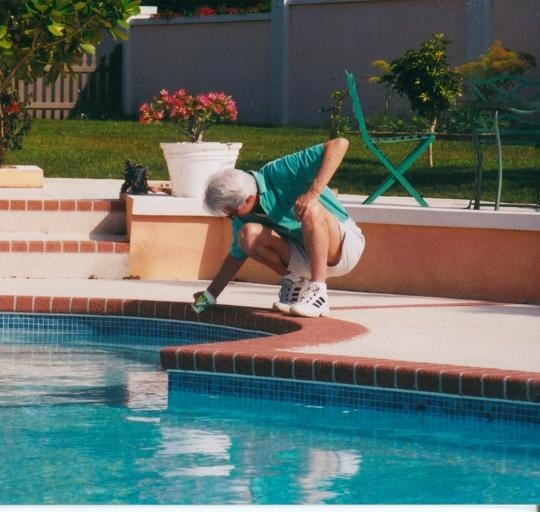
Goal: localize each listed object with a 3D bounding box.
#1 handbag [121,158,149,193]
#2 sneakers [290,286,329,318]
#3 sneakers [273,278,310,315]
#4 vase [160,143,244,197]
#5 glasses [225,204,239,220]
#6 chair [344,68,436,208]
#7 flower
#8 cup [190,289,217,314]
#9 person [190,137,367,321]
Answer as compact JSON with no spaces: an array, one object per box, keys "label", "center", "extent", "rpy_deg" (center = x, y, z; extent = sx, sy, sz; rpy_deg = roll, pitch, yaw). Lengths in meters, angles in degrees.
[{"label":"handbag","center":[-1.146,-0.673,12.031],"extent":[0.231,0.294,0.143],"rpy_deg":[-12,-13,26]},{"label":"sneakers","center":[0.267,0.276,9.134],"extent":[0.155,0.217,0.329],"rpy_deg":[1,1,39]},{"label":"sneakers","center":[0.137,0.243,9.406],"extent":[0.135,0.177,0.408],"rpy_deg":[-10,9,25]},{"label":"vase","center":[-0.577,-0.660,11.538],"extent":[0.654,0.435,0.665],"rpy_deg":[-4,-13,20]},{"label":"glasses","center":[-0.255,-0.287,8.988],"extent":[0.055,0.072,0.040],"rpy_deg":[-3,1,16]},{"label":"chair","center":[0.988,-0.897,11.426],"extent":[0.661,0.986,0.563],"rpy_deg":[1,-3,6]},{"label":"flower","center":[-0.736,-1.168,11.956],"extent":[0.554,0.364,0.657],"rpy_deg":[-19,-13,13]},{"label":"cup","center":[-0.473,0.292,9.508],"extent":[0.146,0.109,0.216],"rpy_deg":[31,-32,-34]},{"label":"person","center":[-0.029,-0.172,9.258],"extent":[1.145,1.151,1.026],"rpy_deg":[0,-1,15]}]
